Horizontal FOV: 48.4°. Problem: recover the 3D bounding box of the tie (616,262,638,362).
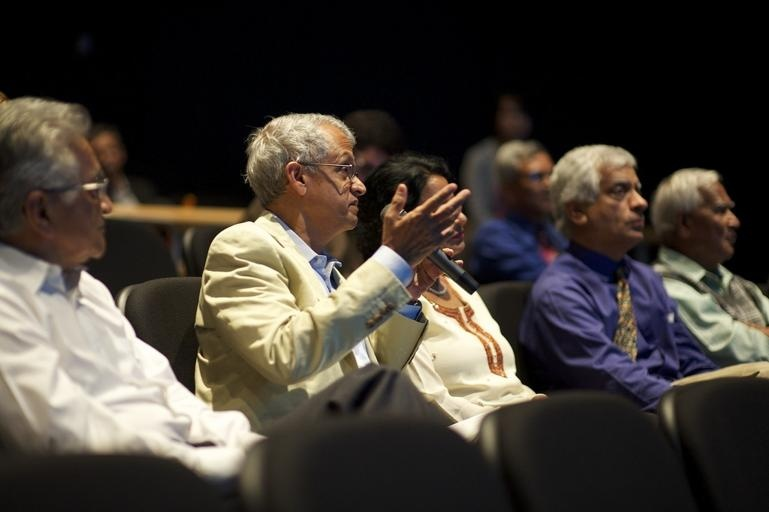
[{"bbox_3d":[1.091,0.264,3.867,0.109,0.365,0.266,5,12,15],"label":"tie"}]
